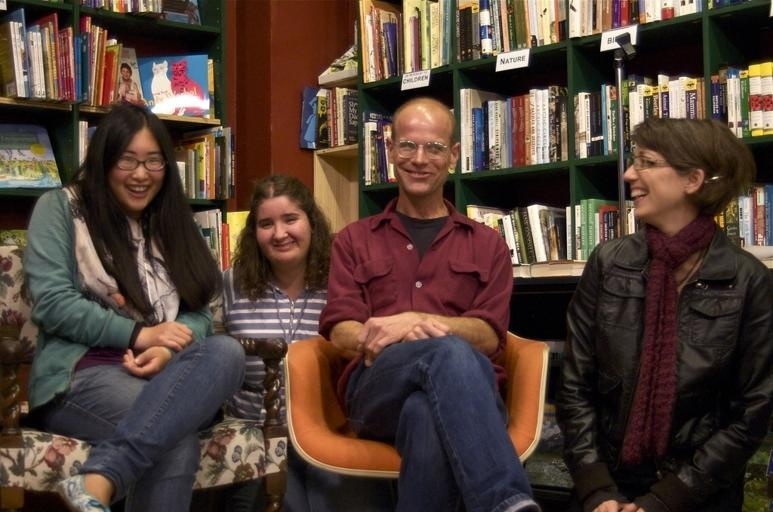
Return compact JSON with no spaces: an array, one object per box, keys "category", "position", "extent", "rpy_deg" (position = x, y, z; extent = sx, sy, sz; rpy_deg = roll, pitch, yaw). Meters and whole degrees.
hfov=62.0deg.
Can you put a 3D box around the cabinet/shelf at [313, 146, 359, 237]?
[{"category":"cabinet/shelf","position":[-0.360,-0.502,4.285],"extent":[0.314,0.436,0.312],"rpy_deg":[1,-4,-21]}]

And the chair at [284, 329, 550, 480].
[{"category":"chair","position":[0.089,0.428,2.313],"extent":[0.665,0.648,0.544],"rpy_deg":[1,-18,0]}]
